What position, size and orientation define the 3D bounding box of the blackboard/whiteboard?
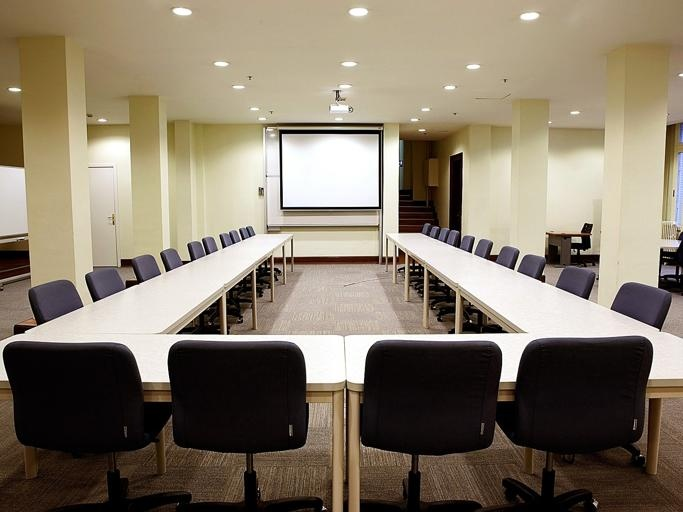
[{"bbox_3d":[-0.452,-1.822,11.464,1.817,1.773,0.149,0,7,-1],"label":"blackboard/whiteboard"}]
